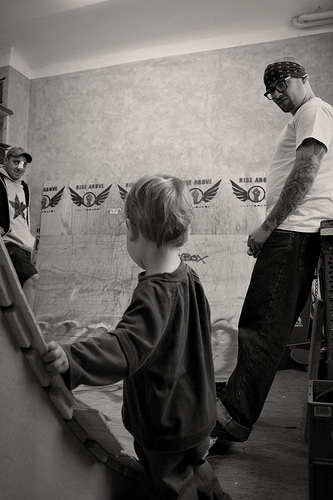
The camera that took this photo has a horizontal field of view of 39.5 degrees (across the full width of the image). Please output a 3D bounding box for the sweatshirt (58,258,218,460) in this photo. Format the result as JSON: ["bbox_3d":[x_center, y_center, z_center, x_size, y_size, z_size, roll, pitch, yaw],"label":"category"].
[{"bbox_3d":[-0.005,0.219,0.994,0.201,0.360,0.618,-5,-7,22],"label":"sweatshirt"}]

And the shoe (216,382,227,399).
[{"bbox_3d":[0.196,0.502,1.670,0.046,0.013,0.051,19,13,30],"label":"shoe"}]

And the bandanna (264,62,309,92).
[{"bbox_3d":[0.453,-0.666,1.757,0.134,0.074,0.105,-3,-4,-29],"label":"bandanna"}]

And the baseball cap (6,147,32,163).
[{"bbox_3d":[-1.287,-0.839,4.071,0.180,0.110,0.293,3,7,18],"label":"baseball cap"}]
